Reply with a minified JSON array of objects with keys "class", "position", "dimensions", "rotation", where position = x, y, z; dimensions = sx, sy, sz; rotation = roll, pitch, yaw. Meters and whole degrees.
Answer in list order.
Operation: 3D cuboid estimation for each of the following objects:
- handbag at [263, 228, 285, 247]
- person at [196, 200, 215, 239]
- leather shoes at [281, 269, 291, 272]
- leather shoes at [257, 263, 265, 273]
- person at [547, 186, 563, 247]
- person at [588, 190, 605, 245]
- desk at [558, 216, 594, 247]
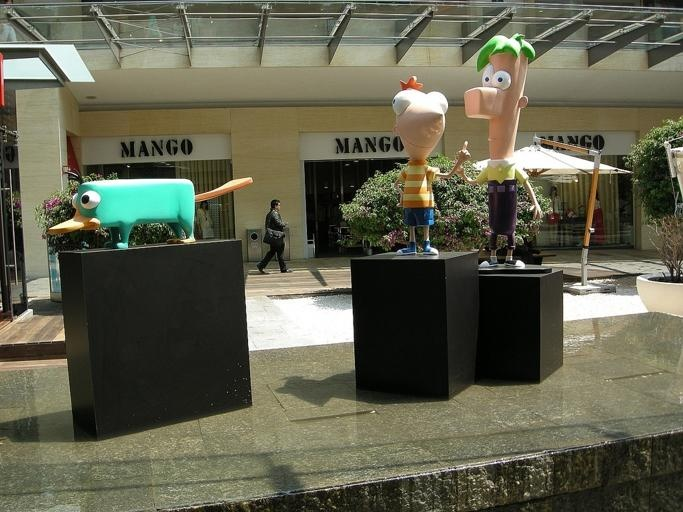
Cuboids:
[{"class":"handbag","position":[-1.747,-0.459,14.034],"dimensions":[0.616,0.485,0.230],"rotation":[7,2,2]},{"class":"person","position":[-4.504,-1.151,17.757],"dimensions":[0.500,1.193,0.426],"rotation":[-3,5,-15]},{"class":"leather shoes","position":[-1.503,0.431,14.649],"dimensions":[0.259,0.106,0.084],"rotation":[-2,13,-5]},{"class":"leather shoes","position":[-2.195,0.352,14.600],"dimensions":[0.091,0.261,0.186],"rotation":[-8,31,34]},{"class":"person","position":[7.836,-1.419,19.711],"dimensions":[0.523,2.175,0.208],"rotation":[-3,5,-7]},{"class":"person","position":[9.549,-1.390,20.168],"dimensions":[0.576,2.082,0.514],"rotation":[-6,11,-18]},{"class":"desk","position":[7.829,-0.824,18.200],"dimensions":[1.223,0.812,0.646],"rotation":[2,15,5]}]
